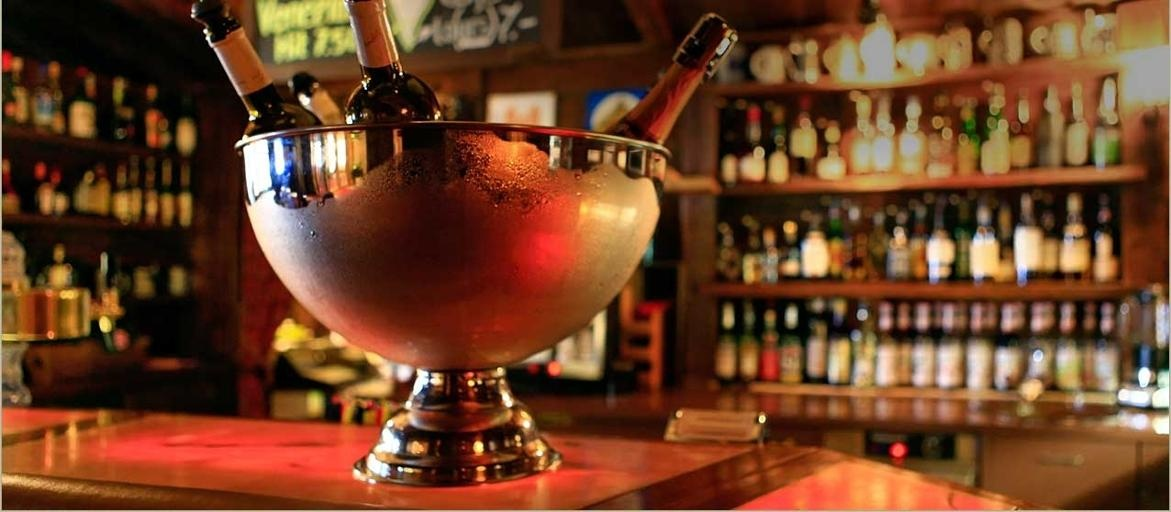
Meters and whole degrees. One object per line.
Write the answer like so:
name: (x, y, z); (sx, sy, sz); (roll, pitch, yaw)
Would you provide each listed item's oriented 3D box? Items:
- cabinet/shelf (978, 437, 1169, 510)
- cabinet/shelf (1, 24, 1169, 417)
cabinet/shelf: (2.703, 1.197, 5.251); (0.695, 0.488, 0.324); (1, -2, 5)
cabinet/shelf: (0.152, -0.152, 5.190); (5.051, 1.878, 2.835); (2, -2, -38)
